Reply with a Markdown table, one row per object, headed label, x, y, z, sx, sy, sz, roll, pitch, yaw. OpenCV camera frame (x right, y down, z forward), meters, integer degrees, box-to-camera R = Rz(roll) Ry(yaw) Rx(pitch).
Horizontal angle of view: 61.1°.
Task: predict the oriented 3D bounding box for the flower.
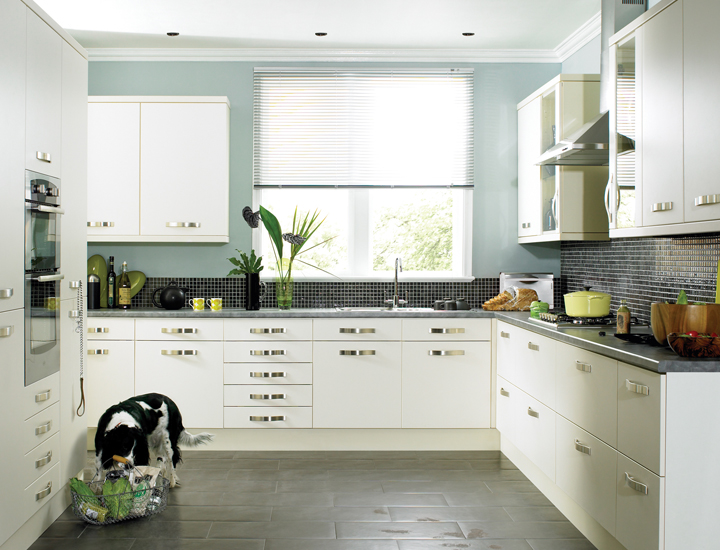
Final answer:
| label | x | y | z | sx | sy | sz | roll | pitch | yaw |
| --- | --- | --- | --- | --- | --- | --- | --- | --- | --- |
| flower | -0.625 | -0.168 | 5.101 | 0.817 | 0.691 | 0.760 | -2 | 2 | -41 |

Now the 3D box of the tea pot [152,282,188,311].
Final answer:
| label | x | y | z | sx | sy | sz | roll | pitch | yaw |
| --- | --- | --- | --- | --- | --- | --- | --- | --- | --- |
| tea pot | -1.501 | 0.164 | 4.810 | 0.256 | 0.177 | 0.192 | -1 | -3 | -8 |

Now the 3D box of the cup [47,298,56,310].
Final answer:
| label | x | y | z | sx | sy | sz | roll | pitch | yaw |
| --- | --- | --- | --- | --- | --- | --- | --- | --- | --- |
| cup | -1.690 | 0.164 | 3.344 | 0.051 | 0.066 | 0.068 | -2 | -4 | 4 |

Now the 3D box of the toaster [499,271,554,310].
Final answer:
| label | x | y | z | sx | sy | sz | roll | pitch | yaw |
| --- | --- | --- | --- | --- | --- | --- | --- | --- | --- |
| toaster | 1.382 | 0.081 | 5.047 | 0.420 | 0.351 | 0.354 | 1 | 5 | 13 |

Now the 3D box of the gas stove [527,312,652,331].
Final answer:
| label | x | y | z | sx | sy | sz | roll | pitch | yaw |
| --- | --- | --- | --- | --- | --- | --- | --- | --- | --- |
| gas stove | 1.450 | 0.296 | 3.847 | 0.711 | 0.059 | 0.556 | 1 | 5 | 11 |

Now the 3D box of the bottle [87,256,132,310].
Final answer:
| label | x | y | z | sx | sy | sz | roll | pitch | yaw |
| --- | --- | --- | --- | --- | --- | --- | --- | --- | --- |
| bottle | -2.013 | 0.055 | 4.879 | 0.318 | 0.429 | 0.384 | -2 | 6 | -21 |

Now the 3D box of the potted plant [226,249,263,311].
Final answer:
| label | x | y | z | sx | sy | sz | roll | pitch | yaw |
| --- | --- | --- | --- | --- | --- | --- | --- | --- | --- |
| potted plant | -0.919 | 0.038 | 4.886 | 0.265 | 0.473 | 0.436 | -1 | 5 | -12 |

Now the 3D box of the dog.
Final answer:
| label | x | y | z | sx | sy | sz | roll | pitch | yaw |
| --- | --- | --- | --- | --- | --- | --- | --- | --- | --- |
| dog | -1.340 | 1.044 | 3.778 | 0.260 | 0.486 | 0.885 | -10 | -12 | 18 |

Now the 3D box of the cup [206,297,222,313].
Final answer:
| label | x | y | z | sx | sy | sz | roll | pitch | yaw |
| --- | --- | --- | --- | --- | --- | --- | --- | --- | --- |
| cup | -1.169 | 0.237 | 4.811 | 0.151 | 0.129 | 0.095 | 0 | -2 | 13 |

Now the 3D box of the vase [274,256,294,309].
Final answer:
| label | x | y | z | sx | sy | sz | roll | pitch | yaw |
| --- | --- | --- | --- | --- | --- | --- | --- | --- | --- |
| vase | -0.620 | 0.080 | 4.956 | 0.157 | 0.390 | 0.397 | 0 | 5 | -8 |

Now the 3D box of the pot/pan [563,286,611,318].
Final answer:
| label | x | y | z | sx | sy | sz | roll | pitch | yaw |
| --- | --- | --- | --- | --- | --- | --- | --- | --- | --- |
| pot/pan | 1.440 | 0.188 | 3.911 | 0.232 | 0.132 | 0.198 | 1 | -4 | -27 |

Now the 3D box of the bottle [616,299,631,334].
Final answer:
| label | x | y | z | sx | sy | sz | roll | pitch | yaw |
| --- | --- | --- | --- | --- | --- | --- | --- | --- | --- |
| bottle | 1.423 | 0.242 | 3.284 | 0.064 | 0.149 | 0.186 | 2 | 6 | 20 |

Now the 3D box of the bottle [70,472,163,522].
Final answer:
| label | x | y | z | sx | sy | sz | roll | pitch | yaw |
| --- | --- | --- | --- | --- | --- | --- | --- | --- | --- |
| bottle | -1.413 | 1.265 | 3.573 | 0.520 | 0.276 | 0.310 | -3 | 6 | -33 |

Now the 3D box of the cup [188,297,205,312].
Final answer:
| label | x | y | z | sx | sy | sz | roll | pitch | yaw |
| --- | --- | --- | --- | --- | --- | --- | --- | --- | --- |
| cup | -1.307 | 0.244 | 4.785 | 0.155 | 0.112 | 0.097 | 1 | -1 | -6 |
